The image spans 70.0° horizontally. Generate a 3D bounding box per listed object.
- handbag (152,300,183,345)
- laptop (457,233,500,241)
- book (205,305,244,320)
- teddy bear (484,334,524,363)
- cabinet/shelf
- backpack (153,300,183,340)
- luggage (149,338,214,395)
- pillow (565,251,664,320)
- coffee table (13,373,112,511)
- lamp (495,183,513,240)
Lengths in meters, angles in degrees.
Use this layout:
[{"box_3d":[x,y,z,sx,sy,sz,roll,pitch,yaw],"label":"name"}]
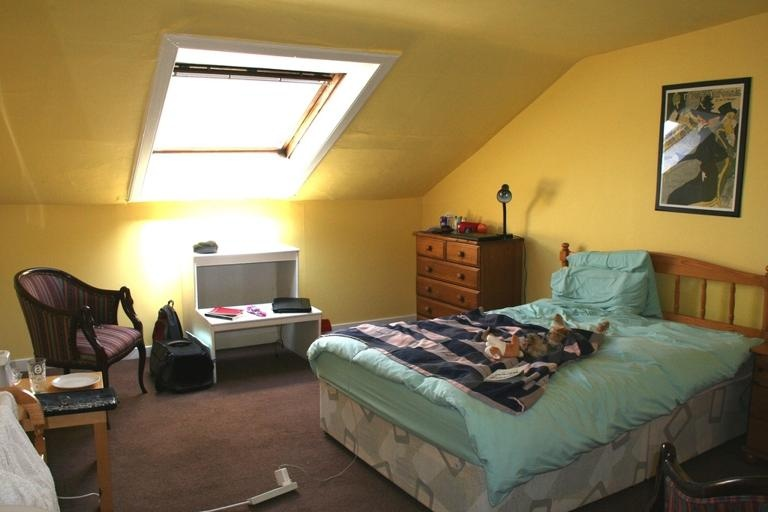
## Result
[{"box_3d":[-2.158,0.675,5.694,0.373,0.556,0.444,2,-3,-14],"label":"handbag"},{"box_3d":[1.007,-0.193,5.778,0.499,0.080,0.281,0,2,13],"label":"laptop"},{"box_3d":[-1.579,0.566,5.462,0.354,0.070,0.387,0,2,15],"label":"book"},{"box_3d":[0.842,0.631,3.847,0.199,0.072,0.187,-1,14,8],"label":"teddy bear"},{"box_3d":[0.928,0.267,6.237,0.702,0.949,1.068,-9,12,-40],"label":"cabinet/shelf"},{"box_3d":[-2.149,0.639,5.654,0.348,0.460,0.419,2,-3,-15],"label":"backpack"},{"box_3d":[-1.997,1.012,5.314,0.492,0.370,0.631,-5,9,-39],"label":"luggage"},{"box_3d":[2.046,0.276,4.783,0.091,0.399,0.628,10,-5,-36],"label":"pillow"},{"box_3d":[-2.058,1.195,3.565,0.583,0.937,0.832,-1,3,-26],"label":"coffee table"},{"box_3d":[1.294,-0.495,5.858,0.145,0.554,0.418,1,3,13],"label":"lamp"}]
